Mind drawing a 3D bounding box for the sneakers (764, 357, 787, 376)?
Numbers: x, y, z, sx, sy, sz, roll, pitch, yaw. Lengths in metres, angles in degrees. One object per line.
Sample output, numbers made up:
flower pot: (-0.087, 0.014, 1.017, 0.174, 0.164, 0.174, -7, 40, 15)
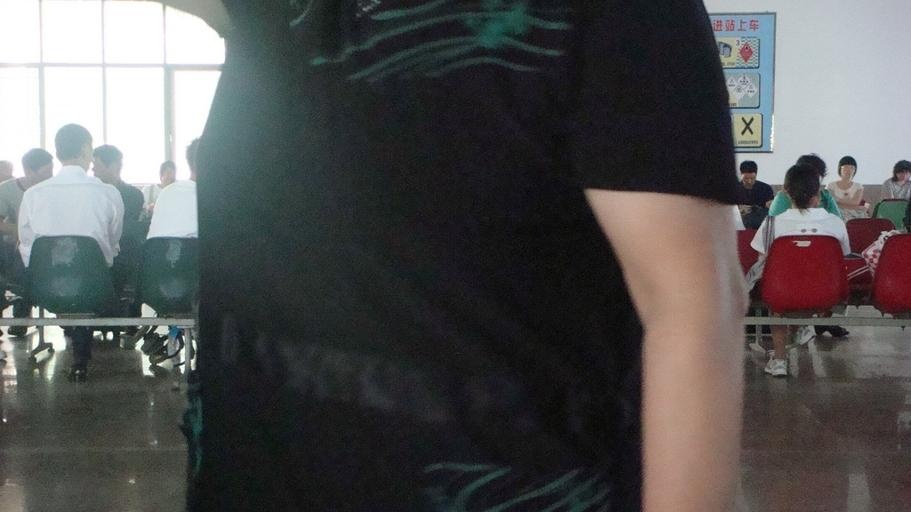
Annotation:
sneakers: (2.848, 0.996, 6.666, 0.193, 0.149, 0.198, 0, 1, 20)
